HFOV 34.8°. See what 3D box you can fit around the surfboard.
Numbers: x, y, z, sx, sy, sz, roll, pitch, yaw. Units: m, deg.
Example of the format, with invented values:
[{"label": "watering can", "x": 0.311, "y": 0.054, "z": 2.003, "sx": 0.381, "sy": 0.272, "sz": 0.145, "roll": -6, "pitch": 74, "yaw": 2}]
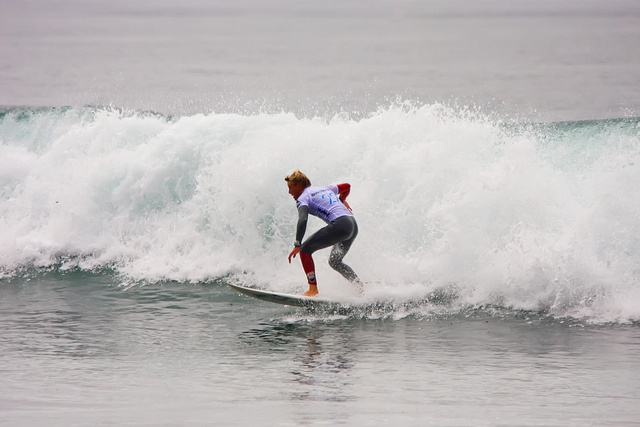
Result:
[{"label": "surfboard", "x": -0.550, "y": 1.272, "z": 16.124, "sx": 1.903, "sy": 0.208, "sz": 0.170, "roll": 6, "pitch": 42, "yaw": 20}]
